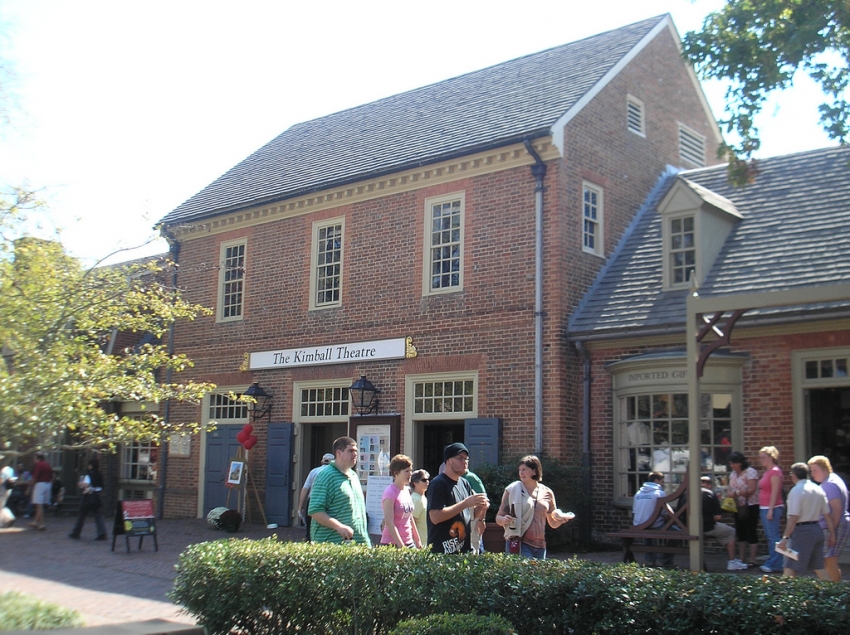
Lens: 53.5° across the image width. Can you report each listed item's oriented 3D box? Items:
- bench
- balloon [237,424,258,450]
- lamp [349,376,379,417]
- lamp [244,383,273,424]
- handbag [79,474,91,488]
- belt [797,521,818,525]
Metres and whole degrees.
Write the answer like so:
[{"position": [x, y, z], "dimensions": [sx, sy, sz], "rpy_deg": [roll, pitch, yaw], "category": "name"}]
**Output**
[{"position": [3.870, 3.315, 13.862], "dimensions": [0.726, 1.874, 2.254], "rpy_deg": [15, -22, -23], "category": "bench"}, {"position": [-4.445, 2.939, 21.120], "dimensions": [0.488, 0.661, 0.746], "rpy_deg": [4, -14, -10], "category": "balloon"}, {"position": [-1.406, 1.764, 19.249], "dimensions": [0.552, 0.867, 0.581], "rpy_deg": [-11, -18, 41], "category": "lamp"}, {"position": [-4.247, 2.128, 21.395], "dimensions": [0.705, 0.957, 0.697], "rpy_deg": [7, -15, -20], "category": "lamp"}, {"position": [-7.581, 3.690, 18.884], "dimensions": [0.207, 0.315, 0.281], "rpy_deg": [7, -14, -20], "category": "handbag"}, {"position": [4.975, 2.677, 11.001], "dimensions": [0.247, 0.047, 0.084], "rpy_deg": [4, -13, -11], "category": "belt"}]
